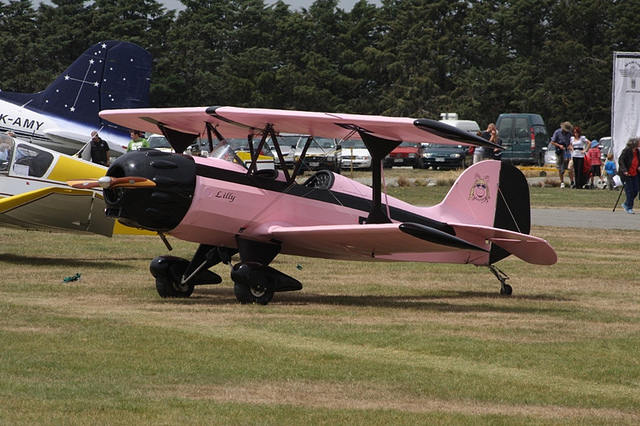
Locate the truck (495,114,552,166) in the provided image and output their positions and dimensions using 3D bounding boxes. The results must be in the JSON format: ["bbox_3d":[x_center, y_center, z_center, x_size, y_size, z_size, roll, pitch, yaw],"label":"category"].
[{"bbox_3d":[8.944,-3.176,43.824,2.260,2.059,4.230,4,6,22],"label":"truck"}]

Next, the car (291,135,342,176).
[{"bbox_3d":[-0.066,-2.153,37.680,1.829,1.087,2.391,0,-2,2],"label":"car"}]

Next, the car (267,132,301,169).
[{"bbox_3d":[-1.226,-2.260,36.250,1.625,1.108,2.491,0,3,-1],"label":"car"}]

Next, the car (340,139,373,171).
[{"bbox_3d":[1.438,-2.251,39.897,1.188,0.693,2.295,0,0,3],"label":"car"}]

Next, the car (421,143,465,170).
[{"bbox_3d":[5.188,-2.269,41.805,1.720,1.168,3.102,1,-3,8],"label":"car"}]

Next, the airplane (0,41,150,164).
[{"bbox_3d":[-6.105,-2.966,25.872,4.036,1.761,5.013,14,1,-32],"label":"airplane"}]

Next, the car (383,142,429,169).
[{"bbox_3d":[3.918,-2.688,43.770,1.879,1.249,2.962,-1,8,24],"label":"car"}]
